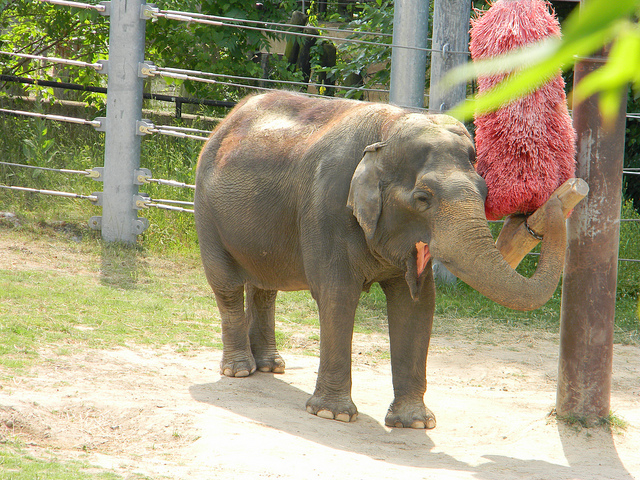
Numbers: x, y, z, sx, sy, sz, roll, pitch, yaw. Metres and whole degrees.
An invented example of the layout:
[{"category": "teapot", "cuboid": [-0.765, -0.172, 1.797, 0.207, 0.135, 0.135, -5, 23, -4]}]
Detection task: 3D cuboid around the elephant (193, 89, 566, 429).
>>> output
[{"category": "elephant", "cuboid": [0.201, 0.111, 6.948, 0.941, 1.741, 2.530, -6, 10, -42]}]
